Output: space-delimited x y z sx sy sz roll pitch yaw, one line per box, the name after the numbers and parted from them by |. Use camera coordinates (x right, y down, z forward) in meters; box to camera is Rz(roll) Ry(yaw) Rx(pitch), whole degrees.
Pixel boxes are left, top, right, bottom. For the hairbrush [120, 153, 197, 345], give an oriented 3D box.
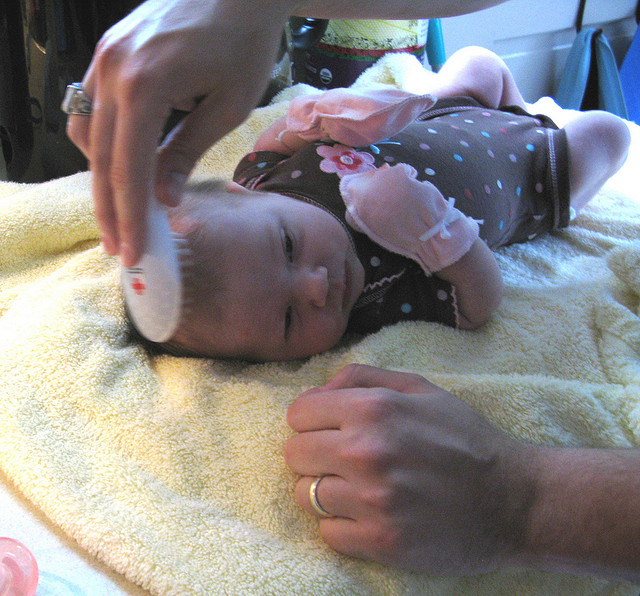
-0.189 -0.049 0.683 0.048 0.183 0.108 -11 7 -33 | hairbrush

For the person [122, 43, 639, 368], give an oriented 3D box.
0.120 -0.177 1.047 0.873 0.302 0.455 -28 72 -25 | person
